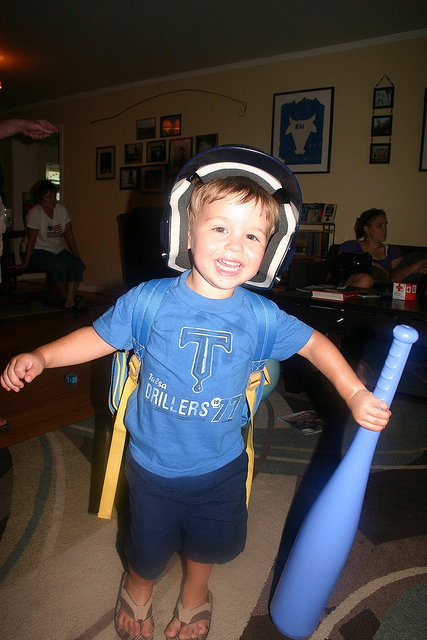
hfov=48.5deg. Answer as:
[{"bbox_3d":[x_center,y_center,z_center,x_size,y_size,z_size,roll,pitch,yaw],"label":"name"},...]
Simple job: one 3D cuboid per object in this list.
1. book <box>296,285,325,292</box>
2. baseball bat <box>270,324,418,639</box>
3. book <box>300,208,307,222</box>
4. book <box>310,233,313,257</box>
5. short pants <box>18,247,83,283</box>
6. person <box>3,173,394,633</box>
[{"bbox_3d":[0.564,-0.186,2.748,0.099,0.023,0.096,1,10,16],"label":"book"},{"bbox_3d":[0.207,0.428,0.936,0.141,0.516,0.156,1,10,-7],"label":"baseball bat"},{"bbox_3d":[0.908,-1.057,4.737,0.045,0.139,0.118,4,11,10],"label":"book"},{"bbox_3d":[0.960,-0.751,4.663,0.019,0.218,0.042,-1,11,-19],"label":"book"},{"bbox_3d":[-1.672,-0.574,4.977,0.518,0.340,0.412,-1,11,-20],"label":"short pants"},{"bbox_3d":[-0.032,0.191,0.987,0.689,0.959,0.302,3,10,3],"label":"person"}]
